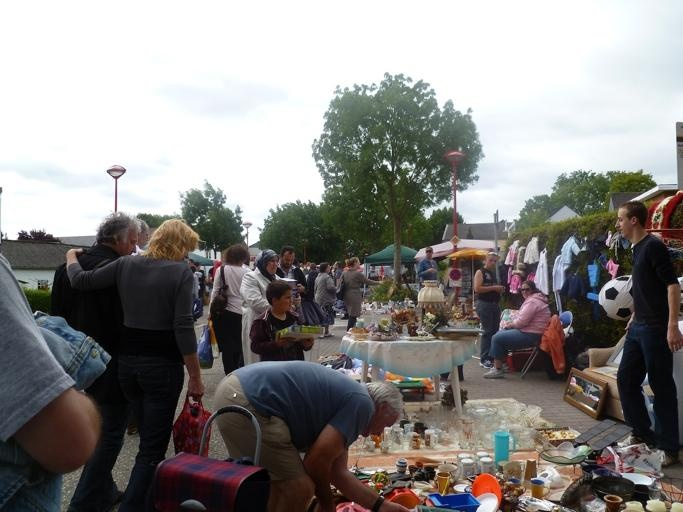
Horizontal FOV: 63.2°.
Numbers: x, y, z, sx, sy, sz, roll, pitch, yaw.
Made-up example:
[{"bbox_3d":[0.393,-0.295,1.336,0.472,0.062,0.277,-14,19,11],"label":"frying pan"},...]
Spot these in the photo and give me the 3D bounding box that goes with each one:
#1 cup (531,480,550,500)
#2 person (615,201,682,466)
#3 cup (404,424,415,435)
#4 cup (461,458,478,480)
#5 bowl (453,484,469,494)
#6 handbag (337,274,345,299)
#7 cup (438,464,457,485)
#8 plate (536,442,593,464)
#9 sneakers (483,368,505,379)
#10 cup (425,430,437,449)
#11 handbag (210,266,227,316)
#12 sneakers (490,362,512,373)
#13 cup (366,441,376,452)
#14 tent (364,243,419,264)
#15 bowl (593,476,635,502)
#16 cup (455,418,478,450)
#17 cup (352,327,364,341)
[{"bbox_3d":[1.540,1.771,4.235,0.155,0.166,0.107,-4,-14,36],"label":"cup"},{"bbox_3d":[2.948,0.697,5.272,0.362,2.022,0.660,1,1,-30],"label":"person"},{"bbox_3d":[0.712,1.814,5.817,0.095,0.113,0.100,0,-7,0],"label":"cup"},{"bbox_3d":[1.049,1.767,4.623,0.104,0.167,0.121,0,-9,-2],"label":"cup"},{"bbox_3d":[0.919,1.769,4.221,0.115,0.024,0.122,2,0,0],"label":"bowl"},{"bbox_3d":[-0.016,0.766,13.736,0.187,0.561,0.551,1,4,2],"label":"handbag"},{"bbox_3d":[0.880,1.796,4.597,0.143,0.153,0.153,4,-5,0],"label":"cup"},{"bbox_3d":[1.929,1.683,4.749,0.242,0.077,0.237,-3,-4,-36],"label":"plate"},{"bbox_3d":[2.505,1.919,9.091,0.365,0.175,0.137,3,-5,-5],"label":"sneakers"},{"bbox_3d":[0.913,1.875,5.698,0.139,0.178,0.149,-1,5,0],"label":"cup"},{"bbox_3d":[-1.446,0.427,6.647,0.180,0.614,0.258,1,1,5],"label":"handbag"},{"bbox_3d":[2.750,1.891,9.415,0.347,0.169,0.128,7,-10,-27],"label":"sneakers"},{"bbox_3d":[0.294,1.878,5.491,0.068,0.103,0.072,-2,31,1],"label":"cup"},{"bbox_3d":[2.381,-0.092,26.596,2.195,0.903,4.140,2,0,11],"label":"tent"},{"bbox_3d":[1.934,1.637,3.950,0.180,0.107,0.177,0,2,0],"label":"bowl"},{"bbox_3d":[1.279,1.815,5.687,0.220,0.400,0.231,-1,-5,0],"label":"cup"},{"bbox_3d":[0.205,0.916,6.521,0.111,0.089,0.119,0,0,0],"label":"cup"}]
